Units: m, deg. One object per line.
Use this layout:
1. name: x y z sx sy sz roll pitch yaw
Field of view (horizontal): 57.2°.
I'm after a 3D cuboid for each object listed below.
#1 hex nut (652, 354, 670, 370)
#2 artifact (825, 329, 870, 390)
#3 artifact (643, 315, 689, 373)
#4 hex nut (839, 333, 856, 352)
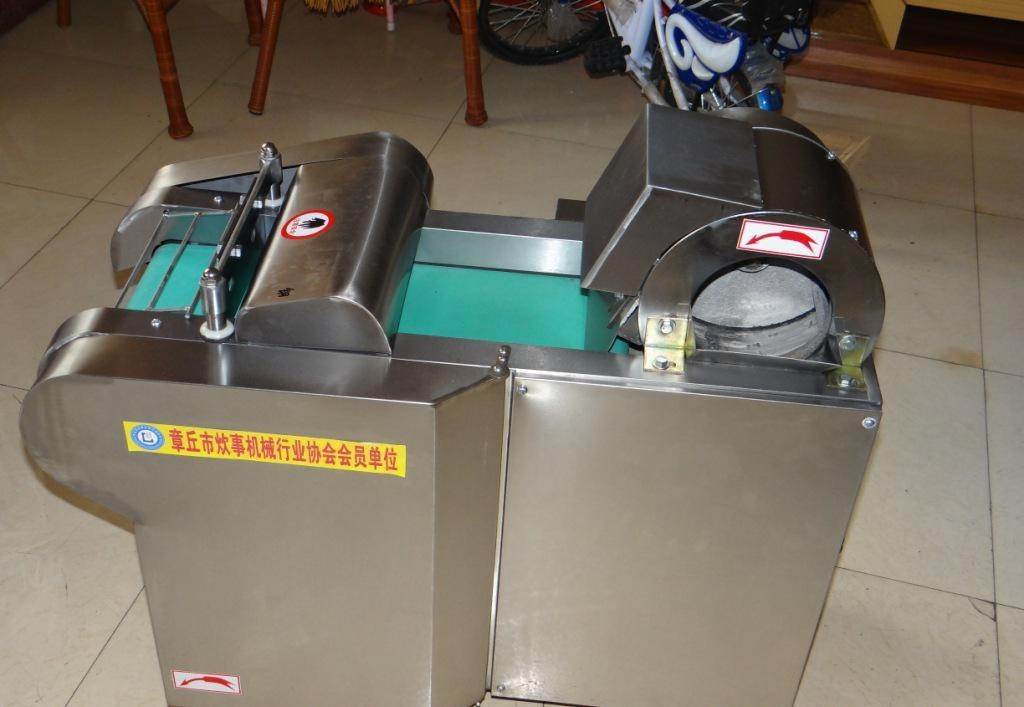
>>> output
1. hex nut: 0.348 0.019 2.190 0.031 0.012 0.033 32 55 29
2. artifact: 0.797 0.011 2.207 0.079 0.043 0.142 5 81 11
3. artifact: 0.363 -0.024 2.200 0.102 0.078 0.112 8 42 1
4. hex nut: 0.791 -0.028 2.212 0.035 0.035 0.036 -5 25 -6
